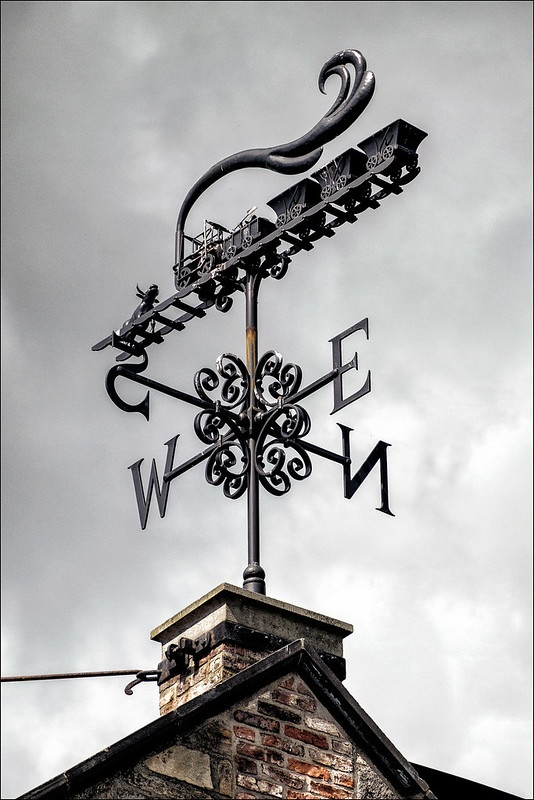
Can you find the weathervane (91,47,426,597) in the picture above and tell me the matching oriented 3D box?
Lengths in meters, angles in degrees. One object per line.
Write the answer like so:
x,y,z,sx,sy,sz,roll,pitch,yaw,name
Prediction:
-0.086,-0.302,15.246,2.399,3.195,0.292,-25,-36,33,weathervane
